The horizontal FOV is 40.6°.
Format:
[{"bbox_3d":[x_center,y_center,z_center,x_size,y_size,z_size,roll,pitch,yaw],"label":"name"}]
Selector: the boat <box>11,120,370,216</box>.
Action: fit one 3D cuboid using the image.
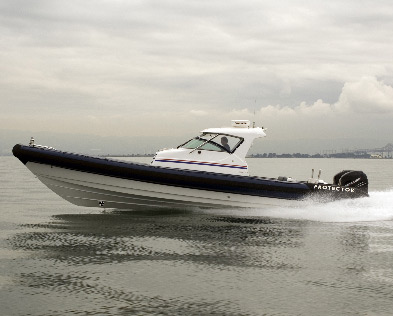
[{"bbox_3d":[-0.561,0.623,17.746,15.617,2.641,3.021,3,-16,-2],"label":"boat"}]
